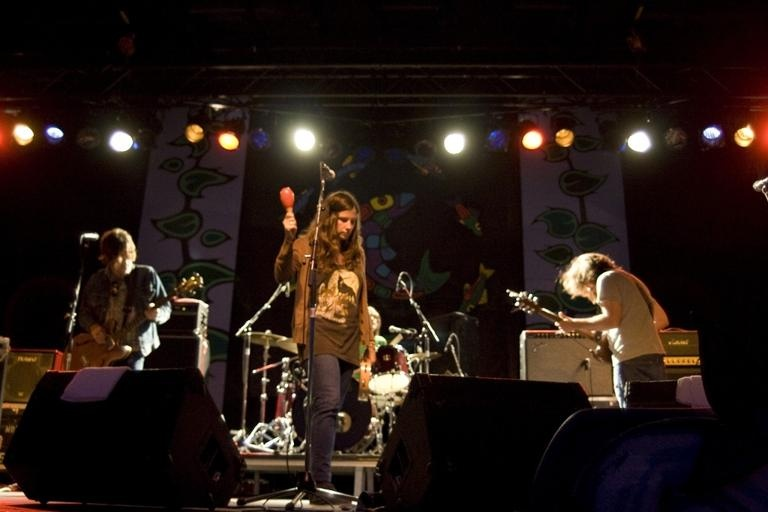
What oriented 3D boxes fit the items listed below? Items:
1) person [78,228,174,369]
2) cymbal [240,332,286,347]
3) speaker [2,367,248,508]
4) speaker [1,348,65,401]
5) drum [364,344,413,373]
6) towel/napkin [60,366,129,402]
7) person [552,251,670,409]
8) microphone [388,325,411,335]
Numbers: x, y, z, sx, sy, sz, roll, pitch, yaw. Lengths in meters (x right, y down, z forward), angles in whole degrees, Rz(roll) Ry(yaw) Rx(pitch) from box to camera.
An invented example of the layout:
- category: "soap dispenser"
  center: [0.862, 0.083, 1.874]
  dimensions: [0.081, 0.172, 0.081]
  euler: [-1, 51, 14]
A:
- category: "person"
  center: [-2.615, 0.444, 7.420]
  dimensions: [0.861, 1.365, 0.484]
  euler: [13, -22, -22]
- category: "cymbal"
  center: [-1.459, 1.002, 8.750]
  dimensions: [0.286, 0.066, 0.283]
  euler: [7, -23, -10]
- category: "speaker"
  center: [-1.980, 1.350, 6.231]
  dimensions: [1.851, 1.056, 1.246]
  euler: [-2, 13, 10]
- category: "speaker"
  center: [-3.664, 1.235, 7.522]
  dimensions: [0.701, 0.660, 0.378]
  euler: [1, -20, -9]
- category: "drum"
  center: [0.075, 1.202, 8.231]
  dimensions: [0.411, 0.260, 0.422]
  euler: [0, -16, 0]
- category: "towel/napkin"
  center: [-2.284, 1.007, 5.698]
  dimensions: [0.327, 0.091, 0.355]
  euler: [-4, 4, 19]
- category: "person"
  center: [2.085, 0.636, 6.635]
  dimensions: [0.909, 1.443, 0.513]
  euler: [-2, -21, 19]
- category: "microphone"
  center: [0.182, 0.908, 8.784]
  dimensions: [0.178, 0.056, 0.189]
  euler: [11, -1, 37]
